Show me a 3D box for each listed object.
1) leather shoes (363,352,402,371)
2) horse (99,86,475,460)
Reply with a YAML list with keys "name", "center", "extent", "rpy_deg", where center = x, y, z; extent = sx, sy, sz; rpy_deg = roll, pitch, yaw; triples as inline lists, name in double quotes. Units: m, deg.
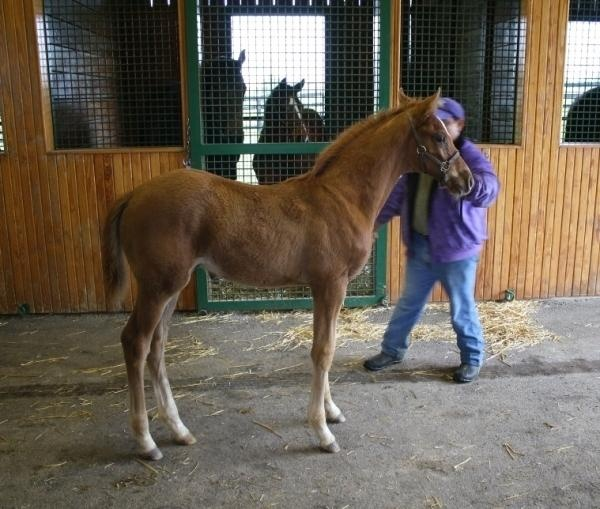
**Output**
- name: "leather shoes"
  center: [0.616, 0.779, 4.308]
  extent: [0.294, 0.134, 0.118]
  rpy_deg: [-3, 4, -22]
- name: "horse"
  center: [-0.060, 0.227, 3.991]
  extent: [2.414, 2.749, 0.752]
  rpy_deg: [0, 1, -4]
